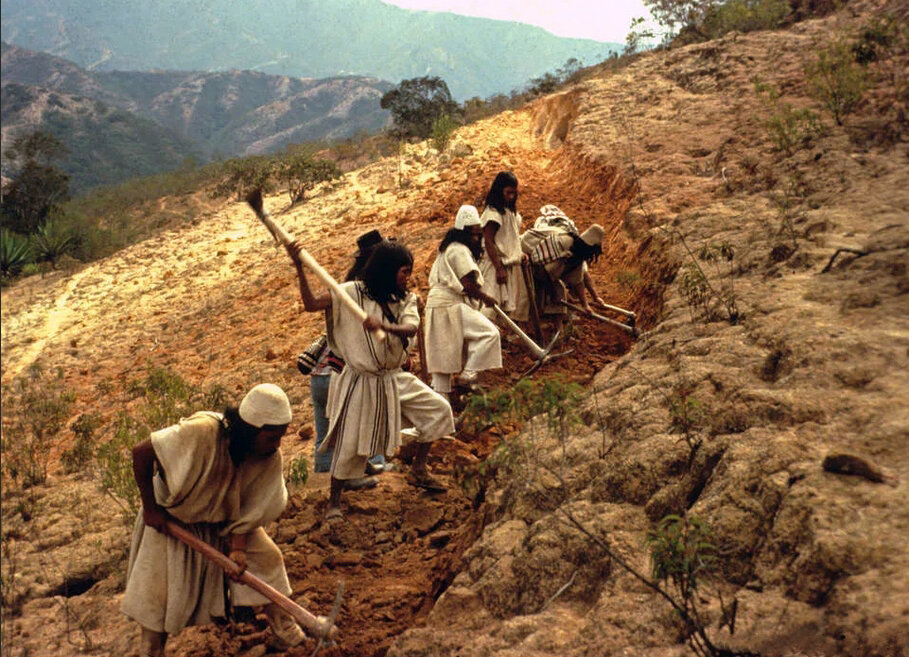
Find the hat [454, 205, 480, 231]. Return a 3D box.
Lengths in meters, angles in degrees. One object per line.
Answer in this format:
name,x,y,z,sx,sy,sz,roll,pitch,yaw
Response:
hat,0.128,-1.151,8.397,0.208,0.246,0.307,-1,-8,-18

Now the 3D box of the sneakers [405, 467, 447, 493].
sneakers,-0.272,1.449,7.657,0.377,0.182,0.175,5,7,14

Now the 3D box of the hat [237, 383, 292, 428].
hat,-1.419,0.609,6.078,0.349,0.235,0.349,5,6,-29
